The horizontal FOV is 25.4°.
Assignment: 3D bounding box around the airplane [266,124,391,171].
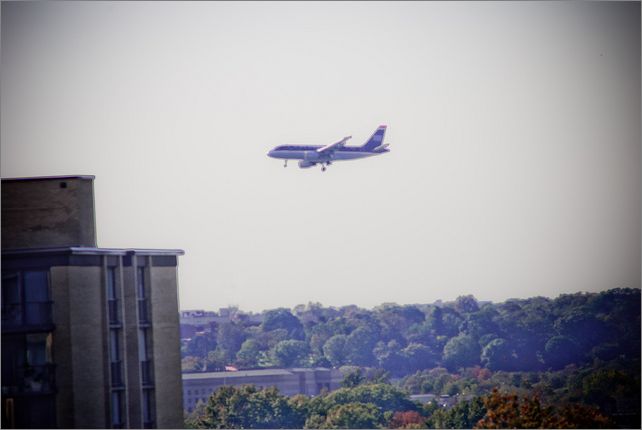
[{"bbox_3d":[1.858,-12.709,269.951,18.971,7.686,18.972,1,-1,-15],"label":"airplane"}]
